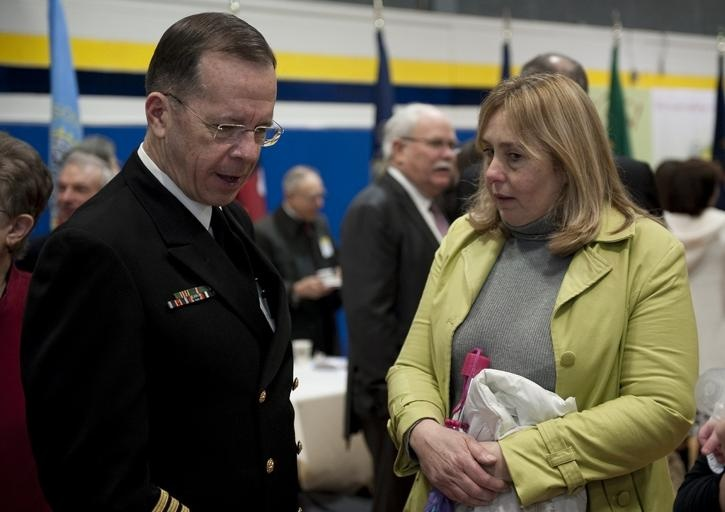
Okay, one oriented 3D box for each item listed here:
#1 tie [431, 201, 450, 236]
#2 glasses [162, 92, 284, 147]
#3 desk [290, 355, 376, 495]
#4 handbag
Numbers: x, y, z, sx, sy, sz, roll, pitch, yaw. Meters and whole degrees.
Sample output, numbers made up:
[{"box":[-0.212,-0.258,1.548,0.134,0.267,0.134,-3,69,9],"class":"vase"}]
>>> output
[{"box":[0.403,-0.225,4.158,0.046,0.300,0.036,-13,-33,-6],"class":"tie"},{"box":[-0.420,-0.436,2.612,0.220,0.063,0.217,42,22,25],"class":"glasses"},{"box":[-0.251,1.050,4.815,0.739,0.426,0.771,-4,8,-21],"class":"desk"},{"box":[0.507,0.538,2.465,0.420,0.476,0.194,14,-4,12],"class":"handbag"}]
